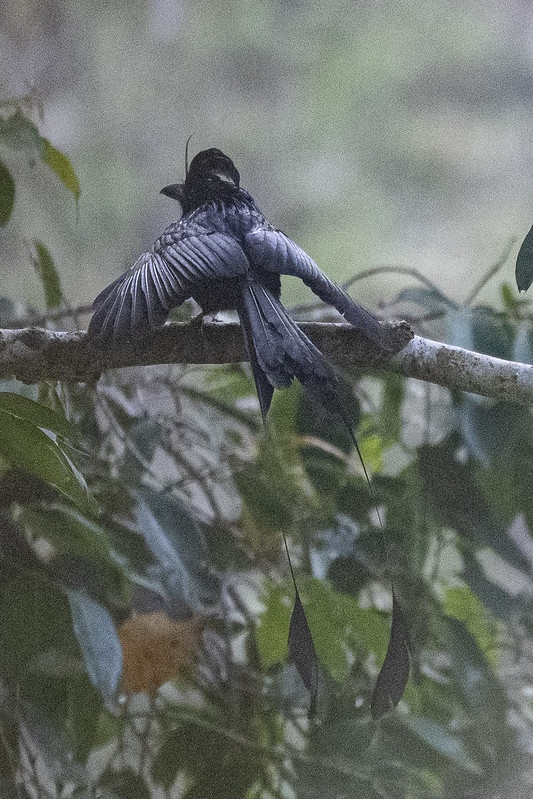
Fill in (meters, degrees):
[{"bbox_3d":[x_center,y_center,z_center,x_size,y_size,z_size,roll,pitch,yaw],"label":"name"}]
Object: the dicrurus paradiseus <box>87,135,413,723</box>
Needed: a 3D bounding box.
[{"bbox_3d":[-0.047,0.017,1.313,0.393,0.763,0.225,-10,-28,-12],"label":"dicrurus paradiseus"}]
